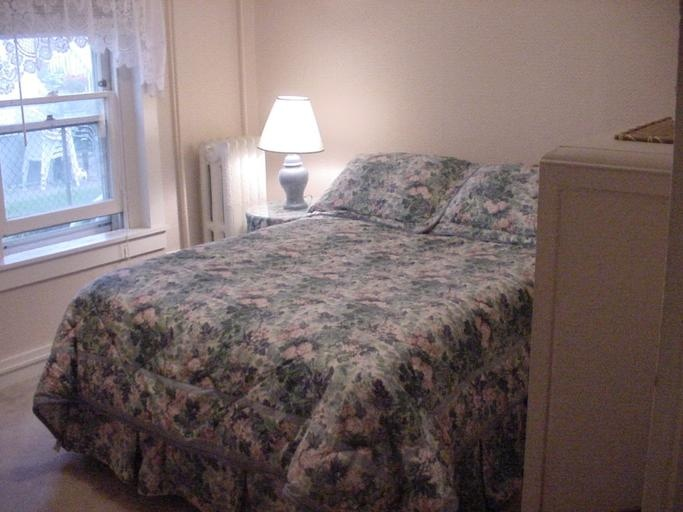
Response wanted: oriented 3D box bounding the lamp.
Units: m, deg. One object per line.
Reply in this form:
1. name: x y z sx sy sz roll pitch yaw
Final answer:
1. lamp: -0.386 -0.736 3.797 0.419 0.800 0.465 -4 13 -18

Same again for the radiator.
1. radiator: -0.782 -0.542 3.989 0.389 0.884 0.401 -12 19 -38

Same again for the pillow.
1. pillow: 0.527 -0.348 3.112 1.436 0.651 1.020 12 17 42
